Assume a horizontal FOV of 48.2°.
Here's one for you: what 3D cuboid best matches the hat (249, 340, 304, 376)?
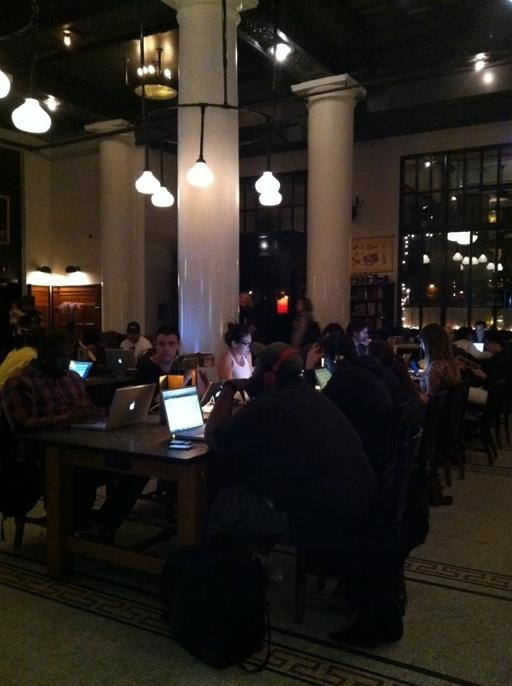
[{"bbox_3d":[0.082,0.053,2.288,0.156,0.087,0.117,31,14,32],"label":"hat"}]

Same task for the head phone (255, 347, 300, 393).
[{"bbox_3d":[0.093,0.099,2.318,0.154,0.178,0.157,7,1,17],"label":"head phone"}]

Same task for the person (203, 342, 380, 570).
[{"bbox_3d":[0.144,0.420,2.206,0.614,0.804,0.345,1,0,15],"label":"person"}]

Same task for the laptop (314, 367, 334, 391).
[{"bbox_3d":[0.544,0.281,4.671,0.172,0.046,0.198,6,45,-24],"label":"laptop"}]

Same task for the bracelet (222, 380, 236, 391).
[{"bbox_3d":[-0.125,0.202,2.726,0.044,0.027,0.064,3,8,7],"label":"bracelet"}]

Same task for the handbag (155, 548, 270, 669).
[{"bbox_3d":[-0.154,0.949,2.249,0.417,0.447,0.310,13,2,24],"label":"handbag"}]

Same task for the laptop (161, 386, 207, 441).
[{"bbox_3d":[-0.367,0.346,3.007,0.200,0.181,0.276,-3,0,19],"label":"laptop"}]

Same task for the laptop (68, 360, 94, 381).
[{"bbox_3d":[-1.530,0.234,4.980,0.137,0.135,0.188,23,12,-5],"label":"laptop"}]
